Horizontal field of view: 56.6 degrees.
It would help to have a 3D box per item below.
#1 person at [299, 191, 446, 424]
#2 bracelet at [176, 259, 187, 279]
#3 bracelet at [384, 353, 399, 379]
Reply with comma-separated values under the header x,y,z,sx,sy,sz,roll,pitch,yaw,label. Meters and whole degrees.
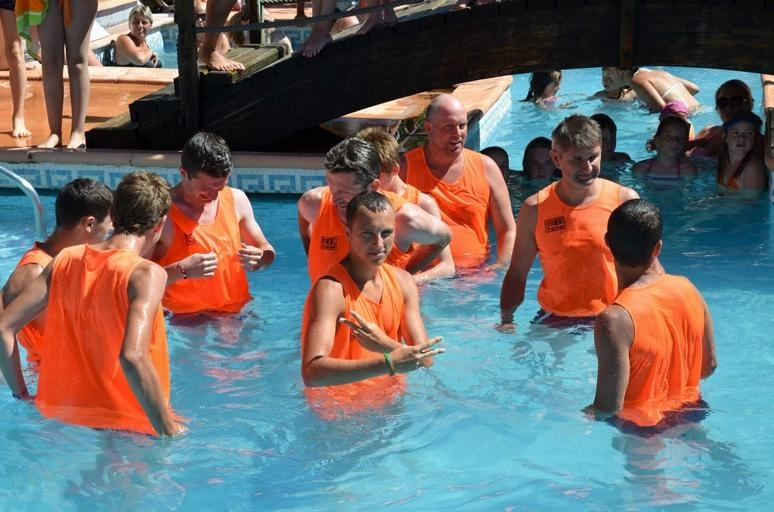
x,y,z,sx,sy,sz,roll,pitch,yaw,label
-0.114,0.345,4.360,0.790,1.462,0.701,-2,12,-5,person
-1.452,0.101,5.092,0.044,0.106,0.084,-26,5,-10,bracelet
0.009,0.630,4.110,0.041,0.104,0.091,-27,-3,-18,bracelet
